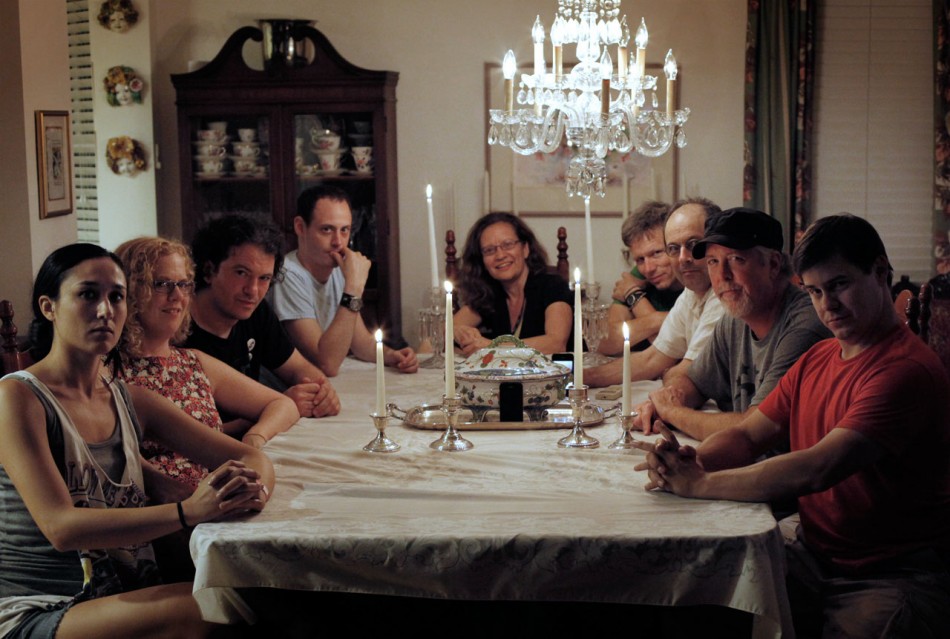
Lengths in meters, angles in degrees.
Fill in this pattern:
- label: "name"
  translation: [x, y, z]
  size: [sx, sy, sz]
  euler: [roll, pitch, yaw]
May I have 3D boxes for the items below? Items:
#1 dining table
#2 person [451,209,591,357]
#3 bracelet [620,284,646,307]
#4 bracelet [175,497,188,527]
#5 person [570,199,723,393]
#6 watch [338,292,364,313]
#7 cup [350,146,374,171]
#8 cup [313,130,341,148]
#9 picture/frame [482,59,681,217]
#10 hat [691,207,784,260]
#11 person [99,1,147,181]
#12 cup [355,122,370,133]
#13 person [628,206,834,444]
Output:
- label: "dining table"
  translation: [0.039, 0.565, 2.365]
  size: [1.448, 0.388, 0.755]
  euler: [-2, 5, 3]
- label: "person"
  translation: [0.195, -0.159, 4.218]
  size: [0.657, 0.921, 0.631]
  euler: [-3, 4, 12]
- label: "bracelet"
  translation: [0.781, -0.113, 4.230]
  size: [0.071, 0.111, 0.106]
  euler: [47, 2, 34]
- label: "bracelet"
  translation: [-0.739, 0.496, 2.148]
  size: [0.013, 0.052, 0.053]
  euler: [-6, -6, -6]
- label: "person"
  translation: [0.828, -0.063, 4.186]
  size: [0.428, 0.963, 0.541]
  euler: [-25, 21, -26]
- label: "watch"
  translation: [-0.543, -0.075, 3.617]
  size: [0.088, 0.086, 0.092]
  euler: [13, 7, 30]
- label: "cup"
  translation: [-0.686, -0.980, 5.133]
  size: [0.133, 0.111, 0.125]
  euler: [1, 15, 0]
- label: "cup"
  translation: [-0.899, -1.091, 5.117]
  size: [0.115, 0.085, 0.119]
  euler: [1, 10, 0]
- label: "picture/frame"
  translation: [0.578, -0.979, 4.464]
  size: [1.199, 0.931, 0.043]
  euler: [0, 1, -1]
- label: "hat"
  translation: [0.857, -0.267, 2.756]
  size: [0.223, 0.125, 0.168]
  euler: [8, 0, -4]
- label: "person"
  translation: [-2.203, -1.454, 5.308]
  size: [0.289, 1.090, 0.095]
  euler: [-2, 5, 7]
- label: "cup"
  translation: [-0.681, -1.157, 5.097]
  size: [0.071, 0.054, 0.073]
  euler: [-1, 13, 0]
- label: "person"
  translation: [0.842, 0.031, 2.796]
  size: [0.775, 0.783, 0.520]
  euler: [-9, 5, -20]
